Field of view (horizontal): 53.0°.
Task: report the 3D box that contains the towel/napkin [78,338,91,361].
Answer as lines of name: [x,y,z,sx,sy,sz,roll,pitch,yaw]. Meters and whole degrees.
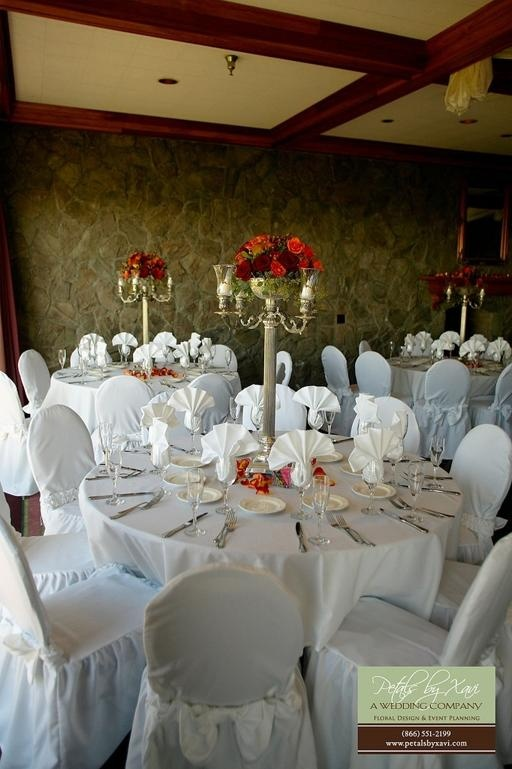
towel/napkin: [-1.464,-0.314,4.484,0.076,0.121,0.261,5,35,-13]

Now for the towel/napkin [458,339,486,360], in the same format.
towel/napkin: [2.271,-0.409,5.375,0.253,0.249,0.078,3,56,0]

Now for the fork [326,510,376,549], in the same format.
fork: [0.275,0.433,1.516,0.052,0.026,0.223,-11,5,-5]

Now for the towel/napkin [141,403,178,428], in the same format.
towel/napkin: [-0.392,0.120,2.094,0.104,0.045,0.110,15,41,10]

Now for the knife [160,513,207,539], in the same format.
knife: [-0.211,0.402,1.534,0.031,0.013,0.226,6,10,25]

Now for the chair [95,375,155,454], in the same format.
chair: [-0.775,0.176,3.054,0.365,0.609,0.363,4,28,-8]

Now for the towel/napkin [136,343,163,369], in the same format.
towel/napkin: [-0.879,-0.240,4.232,0.231,0.107,0.240,0,-5,0]

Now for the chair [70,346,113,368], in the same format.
chair: [-1.502,-0.183,4.674,0.256,0.264,0.264,0,19,0]

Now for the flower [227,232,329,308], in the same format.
flower: [0.093,-0.467,2.088,0.322,0.294,0.327,15,21,30]

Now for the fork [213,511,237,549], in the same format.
fork: [-0.087,0.421,1.487,0.020,0.018,0.147,1,20,14]

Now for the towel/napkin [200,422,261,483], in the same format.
towel/napkin: [-0.089,0.249,1.811,0.211,0.096,0.237,-3,45,3]

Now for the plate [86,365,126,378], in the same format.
plate: [-1.261,-0.112,4.391,0.180,0.045,0.186,4,10,15]

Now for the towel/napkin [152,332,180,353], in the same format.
towel/napkin: [-0.822,-0.396,4.716,0.195,0.210,0.081,15,-14,4]

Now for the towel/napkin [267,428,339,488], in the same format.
towel/napkin: [0.154,0.264,1.789,0.207,0.222,0.031,-2,9,-11]

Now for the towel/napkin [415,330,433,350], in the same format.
towel/napkin: [1.964,-0.525,6.057,0.212,0.235,0.111,20,-1,20]

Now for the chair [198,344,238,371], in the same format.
chair: [-0.356,-0.251,4.990,0.288,0.442,0.299,1,2,-6]

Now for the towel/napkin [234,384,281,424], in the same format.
towel/napkin: [0.017,0.099,2.406,0.081,0.185,0.176,8,-4,-42]

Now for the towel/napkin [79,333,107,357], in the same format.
towel/napkin: [-1.373,-0.342,4.495,0.276,0.097,0.274,-12,25,-30]

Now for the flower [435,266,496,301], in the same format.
flower: [2.702,-1.342,6.800,0.769,0.284,0.325,-15,30,-32]

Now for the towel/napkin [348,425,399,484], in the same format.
towel/napkin: [0.429,0.263,1.876,0.202,0.234,0.069,0,-15,5]

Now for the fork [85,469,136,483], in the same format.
fork: [-0.546,0.351,1.950,0.237,0.043,0.044,-4,49,6]
